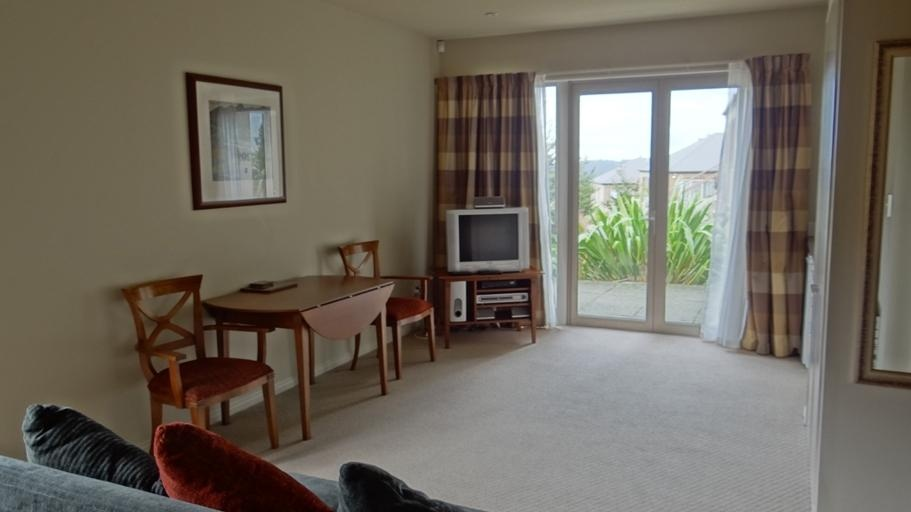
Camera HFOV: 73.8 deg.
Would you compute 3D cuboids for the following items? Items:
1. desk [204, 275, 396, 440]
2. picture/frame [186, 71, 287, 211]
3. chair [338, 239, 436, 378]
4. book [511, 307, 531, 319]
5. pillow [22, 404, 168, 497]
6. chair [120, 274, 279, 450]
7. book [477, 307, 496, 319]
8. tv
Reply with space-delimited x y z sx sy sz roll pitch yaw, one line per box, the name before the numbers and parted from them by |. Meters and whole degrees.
desk | -1.287 0.805 5.182 1.301 0.992 1.489 0 8 14
picture/frame | -1.828 -0.938 4.901 0.084 1.234 1.121 9 16 38
chair | -0.659 0.493 5.910 0.990 1.174 0.920 -1 8 -14
book | 0.690 0.621 6.572 0.152 0.126 0.035 1 -26 -2
pillow | -1.755 0.907 2.949 0.719 0.238 0.361 23 6 5
chair | -1.869 0.839 4.437 0.918 1.213 0.861 4 9 6
book | 0.316 0.624 6.508 0.163 0.135 0.037 4 -8 -6
tv | 0.344 -0.210 6.689 1.210 0.973 0.628 0 9 0
